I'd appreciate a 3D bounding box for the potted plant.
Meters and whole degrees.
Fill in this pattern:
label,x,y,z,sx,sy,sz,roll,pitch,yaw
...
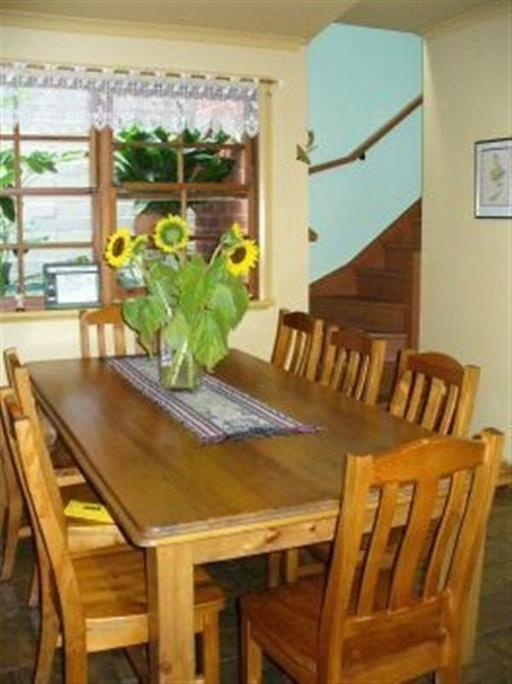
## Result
label,x,y,z,sx,sy,sz,roll,pitch,yaw
potted plant,-0.450,-0.853,3.363,0.645,0.367,0.561,-5,6,-41
